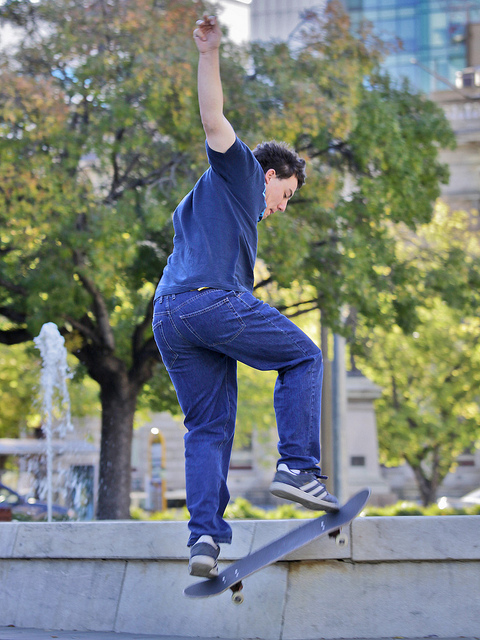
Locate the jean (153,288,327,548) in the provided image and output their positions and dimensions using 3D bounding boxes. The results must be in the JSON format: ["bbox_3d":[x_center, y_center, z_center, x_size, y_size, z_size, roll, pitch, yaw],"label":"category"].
[{"bbox_3d":[-0.018,0.618,10.173,1.085,1.771,1.251,17,2,44],"label":"jean"}]

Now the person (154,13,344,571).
[{"bbox_3d":[-0.006,-0.112,9.977,1.435,3.159,0.692,13,-5,-4],"label":"person"}]

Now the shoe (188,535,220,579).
[{"bbox_3d":[-0.249,1.524,9.731,0.135,0.144,0.328,3,-23,7],"label":"shoe"}]

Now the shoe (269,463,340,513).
[{"bbox_3d":[0.432,1.100,9.857,0.492,0.252,0.210,12,-5,-3],"label":"shoe"}]

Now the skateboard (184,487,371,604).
[{"bbox_3d":[0.243,1.544,10.131,1.545,0.252,0.369,-30,9,0],"label":"skateboard"}]
